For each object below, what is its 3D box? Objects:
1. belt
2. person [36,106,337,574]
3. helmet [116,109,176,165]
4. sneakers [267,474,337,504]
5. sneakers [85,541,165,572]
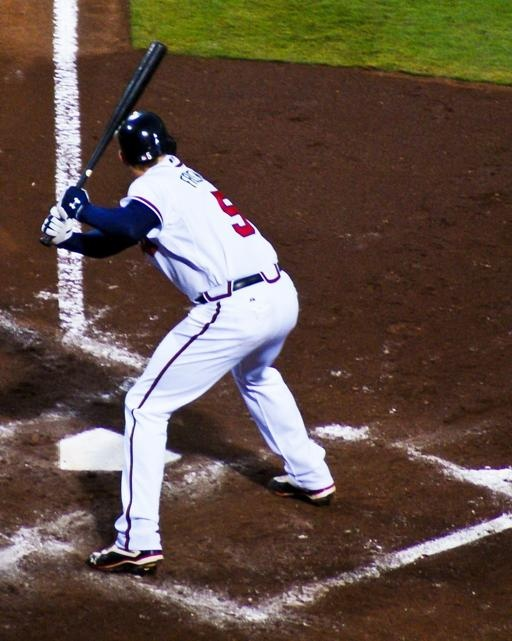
[{"bbox_3d":[-0.079,-0.155,5.206,0.276,0.058,0.205,-27,-2,10],"label":"belt"},{"bbox_3d":[-0.293,0.088,5.344,1.190,2.062,0.920,-6,26,-28],"label":"person"},{"bbox_3d":[-0.517,-0.842,5.306,0.272,0.245,0.296,-11,14,-11],"label":"helmet"},{"bbox_3d":[0.218,0.873,5.741,0.394,0.113,0.150,10,2,18],"label":"sneakers"},{"bbox_3d":[-0.596,1.100,5.292,0.404,0.156,0.126,5,2,1],"label":"sneakers"}]
